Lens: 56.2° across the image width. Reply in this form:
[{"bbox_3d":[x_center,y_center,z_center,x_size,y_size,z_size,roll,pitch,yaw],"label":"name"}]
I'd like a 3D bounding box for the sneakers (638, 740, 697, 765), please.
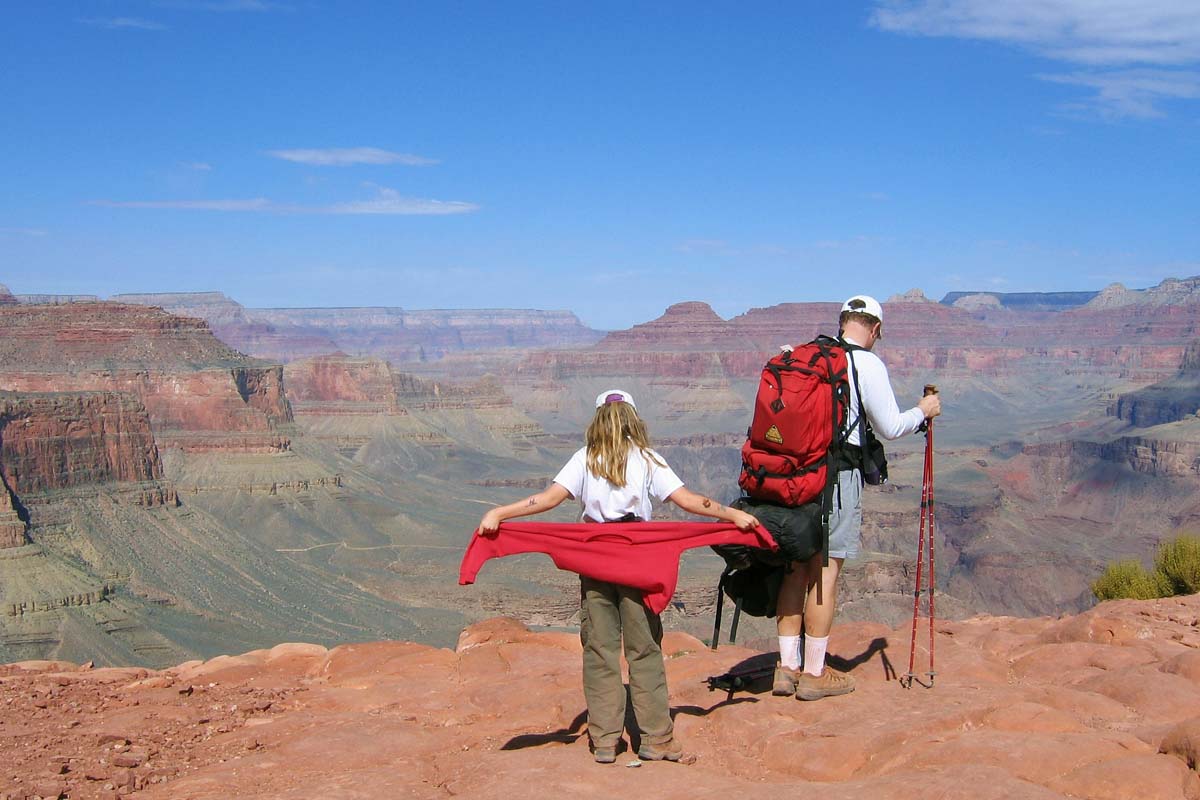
[{"bbox_3d":[0.654,3.488,11.250,0.575,0.234,0.207,1,-4,-4],"label":"sneakers"}]
